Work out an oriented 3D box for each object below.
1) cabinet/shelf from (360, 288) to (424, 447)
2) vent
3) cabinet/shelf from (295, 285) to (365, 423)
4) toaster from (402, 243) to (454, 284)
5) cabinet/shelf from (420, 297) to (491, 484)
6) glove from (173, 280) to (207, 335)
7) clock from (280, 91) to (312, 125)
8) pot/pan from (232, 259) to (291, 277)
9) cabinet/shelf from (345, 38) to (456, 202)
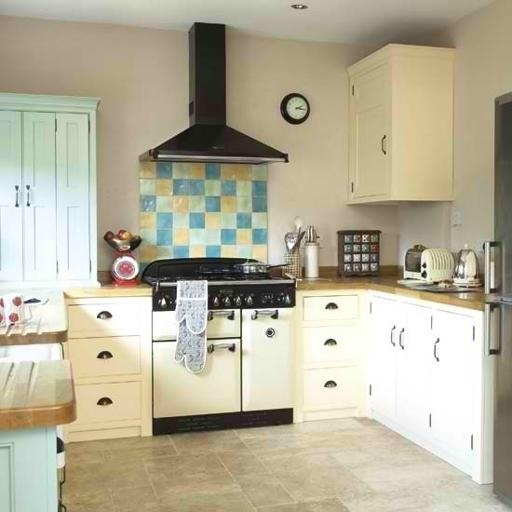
[{"bbox_3d":[1.025,0.754,3.225,0.351,0.809,0.776,16,-9,22],"label":"cabinet/shelf"},{"bbox_3d":[-0.337,-1.062,3.477,0.888,0.897,0.772,0,-3,-20],"label":"vent"},{"bbox_3d":[0.473,0.594,3.542,0.585,0.980,0.615,1,15,11],"label":"cabinet/shelf"},{"bbox_3d":[1.146,0.059,3.267,0.215,0.241,0.321,1,0,-14],"label":"toaster"},{"bbox_3d":[1.137,0.671,2.513,0.358,0.787,0.423,4,-6,-14],"label":"cabinet/shelf"},{"bbox_3d":[-0.391,0.313,2.948,0.189,0.269,0.072,0,0,-7],"label":"glove"},{"bbox_3d":[0.301,-1.130,3.795,0.214,0.237,0.045,6,4,-23],"label":"clock"},{"bbox_3d":[0.012,0.083,3.361,0.252,0.101,0.158,-2,4,0],"label":"pot/pan"},{"bbox_3d":[0.990,-0.930,3.515,0.791,1.124,0.512,0,0,26],"label":"cabinet/shelf"}]
